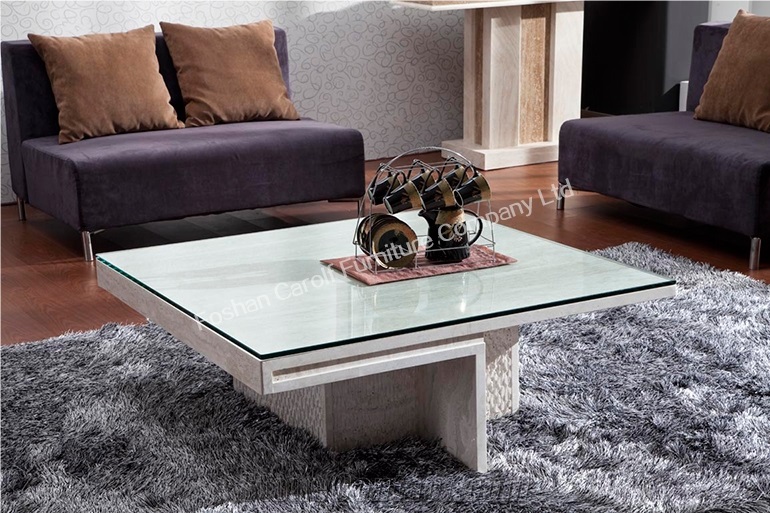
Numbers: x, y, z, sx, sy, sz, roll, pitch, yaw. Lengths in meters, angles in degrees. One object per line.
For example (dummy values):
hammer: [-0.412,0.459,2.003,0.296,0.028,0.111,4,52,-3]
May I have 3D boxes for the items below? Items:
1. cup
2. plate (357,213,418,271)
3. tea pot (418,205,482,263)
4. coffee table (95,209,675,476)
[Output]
cup: [0.130,-0.200,1.800,0.306,0.108,0.211,-11,19,-18]
plate: [0.011,-0.042,1.745,0.175,0.148,0.051,-2,19,-8]
tea pot: [0.177,-0.059,1.782,0.203,0.146,0.134,0,14,-2]
coffee table: [-0.168,0.123,1.705,0.990,0.309,0.828,-8,17,-30]
